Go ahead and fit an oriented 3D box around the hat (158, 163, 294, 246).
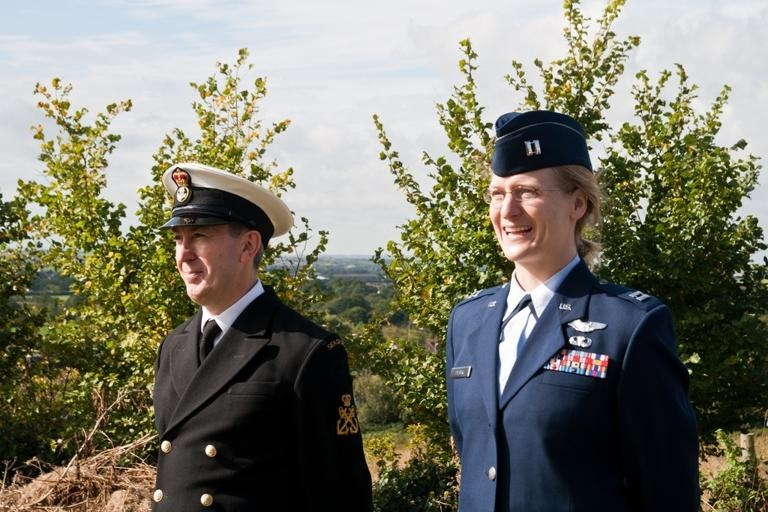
[{"bbox_3d":[-1.283,-0.374,8.070,1.047,0.473,1.174,-3,-13,36],"label":"hat"}]
